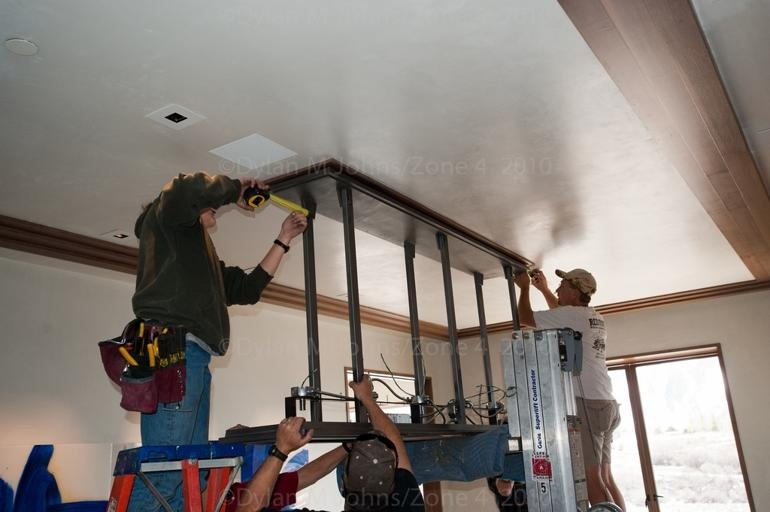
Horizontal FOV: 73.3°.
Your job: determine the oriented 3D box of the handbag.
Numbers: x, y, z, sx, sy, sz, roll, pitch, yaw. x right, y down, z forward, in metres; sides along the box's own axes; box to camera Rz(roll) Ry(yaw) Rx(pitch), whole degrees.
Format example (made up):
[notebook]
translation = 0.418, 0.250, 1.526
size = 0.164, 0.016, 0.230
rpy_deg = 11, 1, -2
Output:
[handbag]
translation = -1.128, 0.493, 2.472
size = 0.332, 0.405, 0.313
rpy_deg = 0, 6, 10
